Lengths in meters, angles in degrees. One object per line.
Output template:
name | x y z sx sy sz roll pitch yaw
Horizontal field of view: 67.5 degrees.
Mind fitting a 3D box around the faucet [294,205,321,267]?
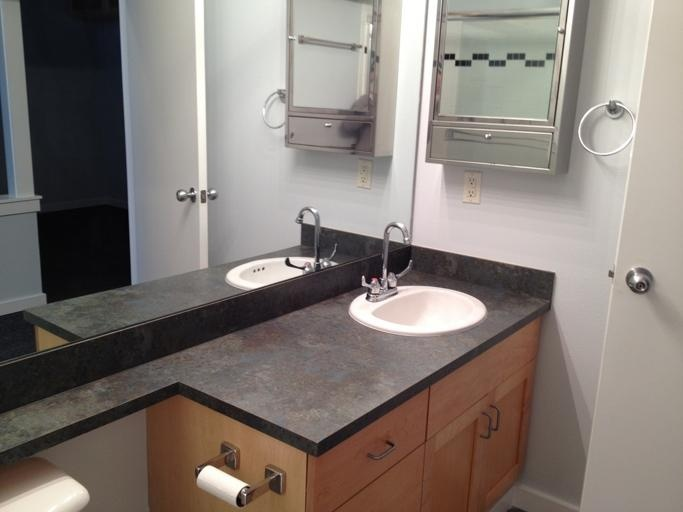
faucet | -0.131 -0.075 2.094 0.109 0.270 0.044 7 20 16
